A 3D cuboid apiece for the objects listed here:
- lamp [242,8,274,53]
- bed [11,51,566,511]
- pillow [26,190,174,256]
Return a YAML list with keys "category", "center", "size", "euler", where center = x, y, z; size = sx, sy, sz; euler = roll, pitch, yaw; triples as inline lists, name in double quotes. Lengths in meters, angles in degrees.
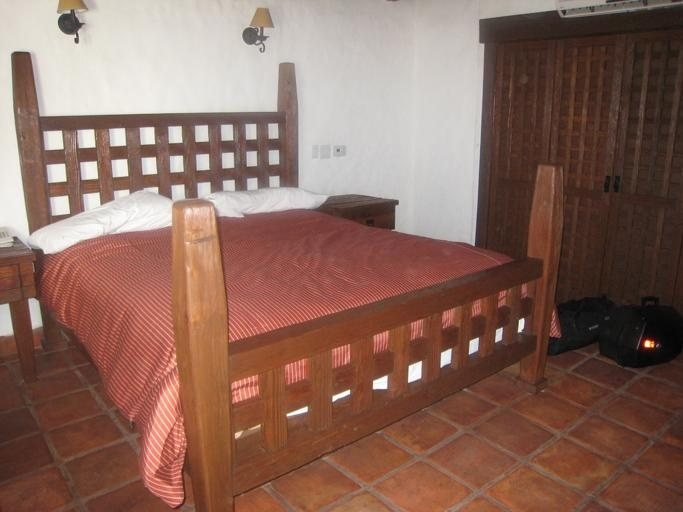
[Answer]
- category: "lamp"
  center: [-0.635, -1.700, 3.826]
  size: [0.267, 0.379, 0.225]
  euler: [-8, 27, -31]
- category: "bed"
  center: [-0.585, 0.080, 3.275]
  size: [2.376, 2.013, 2.851]
  euler: [-12, 22, -32]
- category: "pillow"
  center: [-1.413, -0.218, 3.140]
  size: [0.467, 0.263, 0.783]
  euler: [17, 24, 40]
